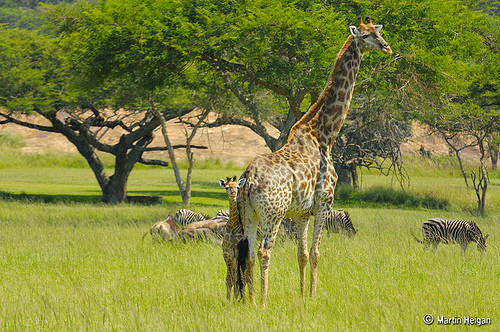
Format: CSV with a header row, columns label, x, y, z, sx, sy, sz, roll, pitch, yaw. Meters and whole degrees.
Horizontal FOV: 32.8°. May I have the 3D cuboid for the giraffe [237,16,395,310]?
label,x,y,z,sx,sy,sz,roll,pitch,yaw
giraffe,2.435,0.002,35.281,8.144,12.096,2.647,-5,8,-39

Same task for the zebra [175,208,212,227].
label,x,y,z,sx,sy,sz,roll,pitch,yaw
zebra,-2.901,2.549,40.262,1.680,0.690,0.618,2,1,30
